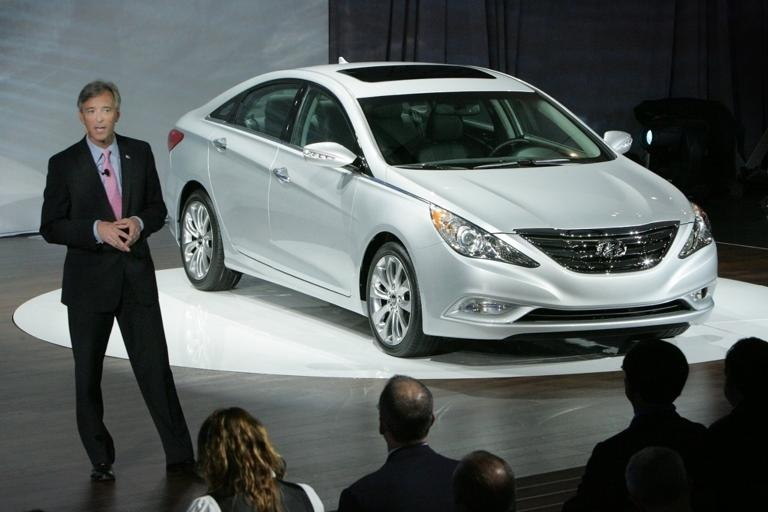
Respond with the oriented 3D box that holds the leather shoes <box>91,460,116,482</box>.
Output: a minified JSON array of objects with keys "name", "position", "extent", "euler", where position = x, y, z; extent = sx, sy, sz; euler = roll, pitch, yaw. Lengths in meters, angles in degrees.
[{"name":"leather shoes","position":[-1.543,1.164,2.917],"extent":[0.123,0.088,0.100],"euler":[-4,12,-16]}]

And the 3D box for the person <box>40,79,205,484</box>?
[{"name":"person","position":[-1.487,0.139,2.969],"extent":[0.631,2.138,0.671],"euler":[-8,14,-31]}]

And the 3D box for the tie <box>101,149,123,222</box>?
[{"name":"tie","position":[-1.558,-0.404,3.049],"extent":[0.103,0.348,0.030],"euler":[-14,27,-20]}]

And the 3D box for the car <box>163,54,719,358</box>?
[{"name":"car","position":[0.013,-0.584,5.703],"extent":[2.900,1.892,5.175],"euler":[-6,12,-39]}]
